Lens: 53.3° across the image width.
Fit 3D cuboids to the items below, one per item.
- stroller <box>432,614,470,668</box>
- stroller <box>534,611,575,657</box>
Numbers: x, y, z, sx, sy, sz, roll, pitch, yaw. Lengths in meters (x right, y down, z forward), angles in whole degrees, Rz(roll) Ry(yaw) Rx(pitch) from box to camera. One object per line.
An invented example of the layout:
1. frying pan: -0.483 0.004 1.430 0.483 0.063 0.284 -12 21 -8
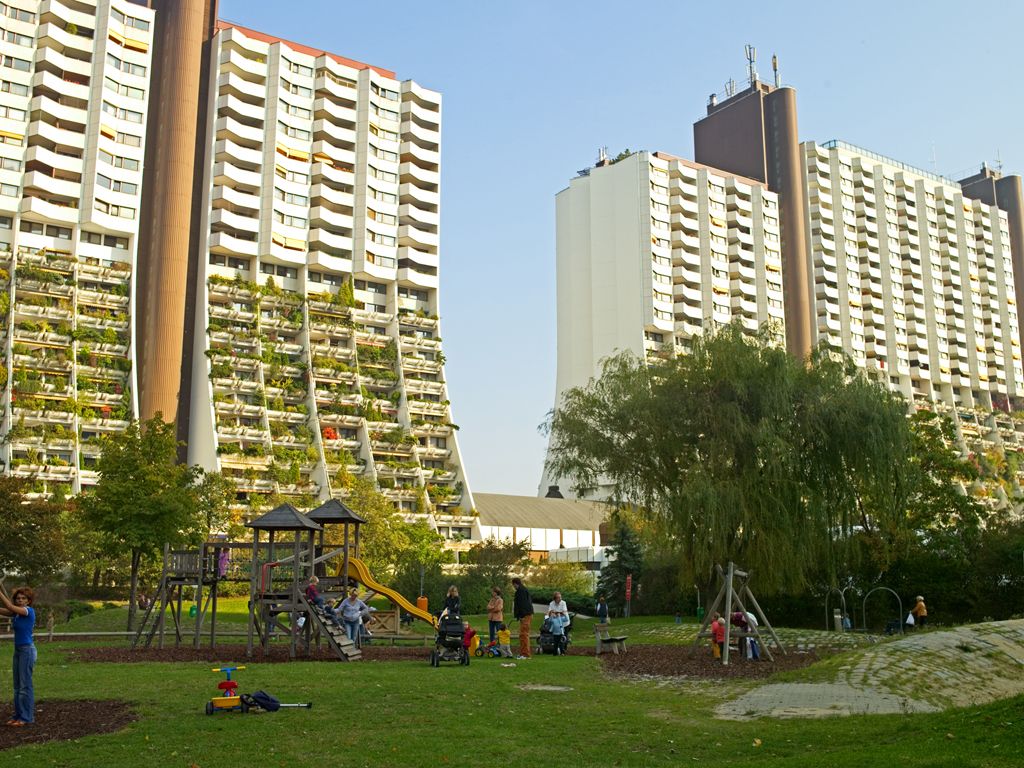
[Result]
1. stroller: -1.903 7.901 31.713 1.139 1.641 1.157 -2 -14 3
2. stroller: 1.461 8.806 35.663 1.048 1.655 1.637 -2 -24 10
